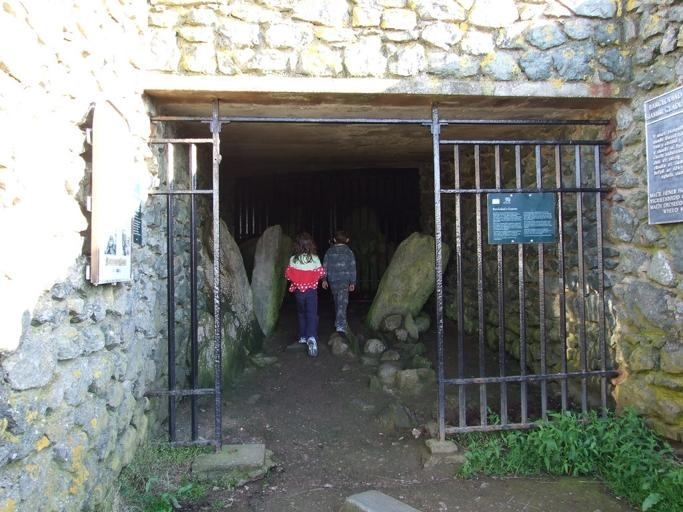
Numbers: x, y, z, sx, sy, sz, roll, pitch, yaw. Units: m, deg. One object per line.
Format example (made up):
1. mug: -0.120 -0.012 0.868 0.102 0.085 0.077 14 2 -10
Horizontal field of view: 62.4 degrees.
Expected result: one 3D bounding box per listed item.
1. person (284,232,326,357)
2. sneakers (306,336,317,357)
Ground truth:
1. person: -0.464 0.448 7.081 0.474 1.460 0.765 0 4 -2
2. sneakers: -0.363 1.101 6.837 0.096 0.239 0.103 -4 -1 13
